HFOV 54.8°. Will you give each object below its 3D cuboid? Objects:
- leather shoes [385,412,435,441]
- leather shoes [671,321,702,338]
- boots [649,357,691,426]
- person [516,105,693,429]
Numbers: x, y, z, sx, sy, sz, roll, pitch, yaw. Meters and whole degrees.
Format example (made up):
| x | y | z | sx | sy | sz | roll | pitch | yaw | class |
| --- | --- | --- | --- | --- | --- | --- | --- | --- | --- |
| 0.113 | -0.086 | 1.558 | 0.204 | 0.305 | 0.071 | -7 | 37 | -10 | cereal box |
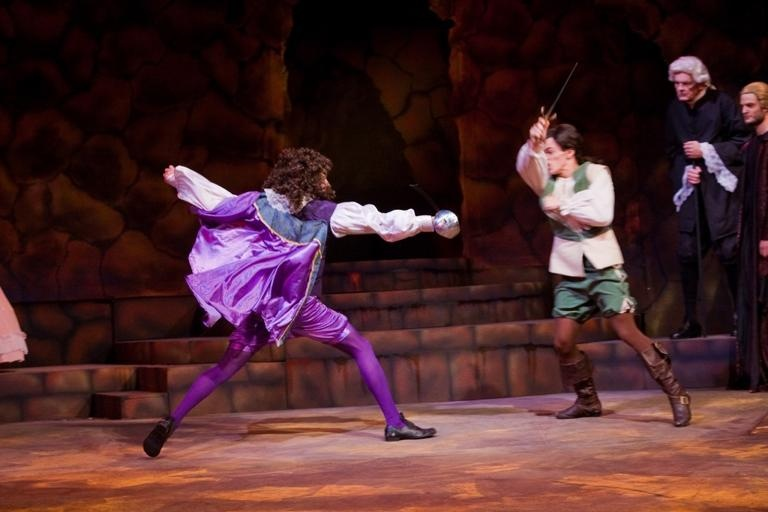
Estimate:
| x | y | z | sx | sy | sz | roll | pitch | yaw | class |
| --- | --- | --- | --- | --- | --- | --- | --- | --- | --- |
| 0.150 | 1.120 | 4.833 | 0.385 | 0.169 | 0.132 | -2 | -3 | -5 | leather shoes |
| 2.520 | 0.632 | 6.296 | 0.332 | 0.128 | 0.111 | -1 | 1 | -12 | leather shoes |
| 1.877 | 0.883 | 4.872 | 0.226 | 0.307 | 0.294 | -8 | -5 | 19 | boots |
| 1.438 | 0.085 | 5.005 | 0.865 | 2.119 | 0.566 | -8 | -5 | 14 | person |
